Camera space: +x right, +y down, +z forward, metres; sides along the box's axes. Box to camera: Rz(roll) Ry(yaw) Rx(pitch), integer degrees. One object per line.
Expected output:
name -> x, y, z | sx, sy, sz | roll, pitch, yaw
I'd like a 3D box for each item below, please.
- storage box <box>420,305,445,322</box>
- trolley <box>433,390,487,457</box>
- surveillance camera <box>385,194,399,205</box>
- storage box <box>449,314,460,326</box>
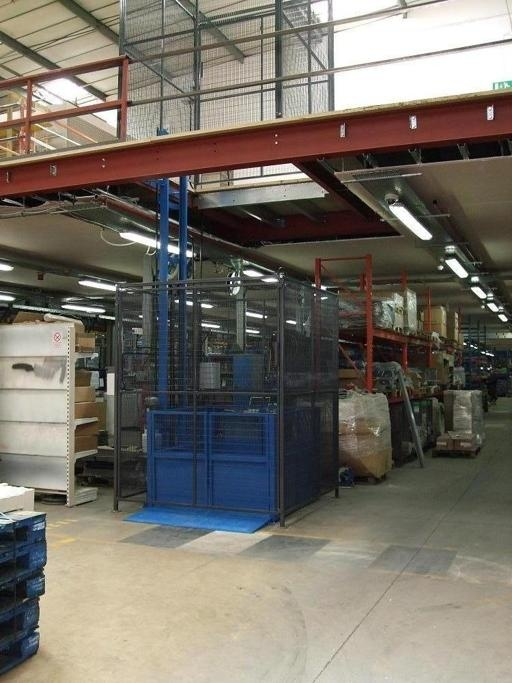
storage box -> 5.127, -0.796, 17.220 | 0.793, 0.543, 0.570 | -2, -4, 19
trolley -> 4.985, 2.012, 14.612 | 0.994, 1.322, 2.627 | -3, 0, 24
surveillance camera -> 1.635, -1.720, 7.205 | 0.110, 0.042, 0.120 | 2, -8, -2
storage box -> 6.400, -0.694, 19.299 | 0.295, 0.396, 0.446 | -1, -6, 19
